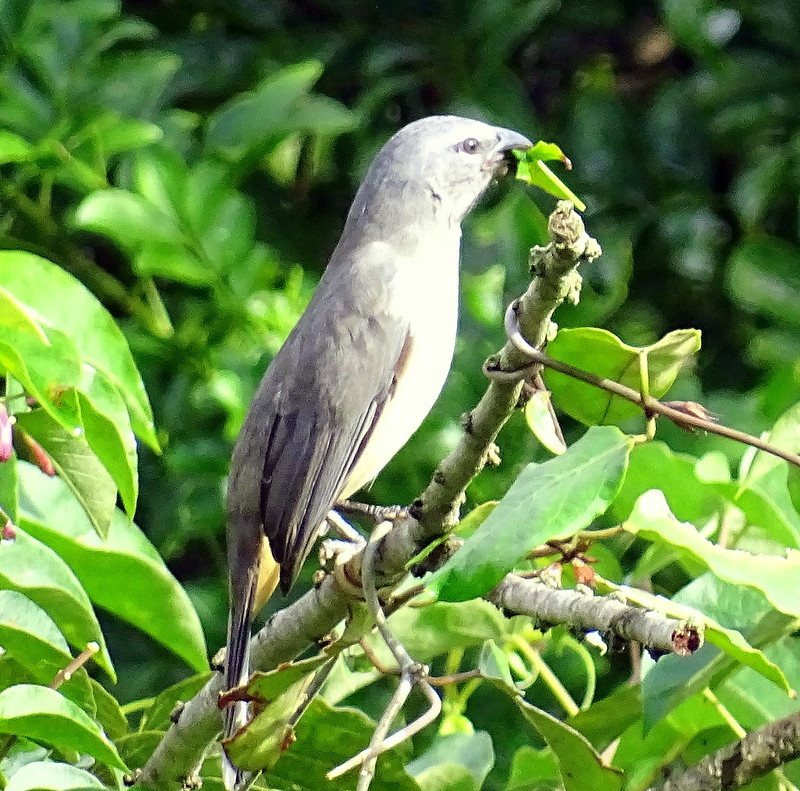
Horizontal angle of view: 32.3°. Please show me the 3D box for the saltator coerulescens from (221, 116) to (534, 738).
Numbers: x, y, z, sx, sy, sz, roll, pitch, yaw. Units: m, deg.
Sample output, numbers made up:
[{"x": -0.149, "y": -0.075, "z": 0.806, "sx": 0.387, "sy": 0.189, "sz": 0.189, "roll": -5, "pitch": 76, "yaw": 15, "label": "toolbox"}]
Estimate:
[{"x": -0.062, "y": -0.074, "z": 2.941, "sx": 0.637, "sy": 1.237, "sz": 0.406, "roll": 4, "pitch": -1, "yaw": -22, "label": "saltator coerulescens"}]
